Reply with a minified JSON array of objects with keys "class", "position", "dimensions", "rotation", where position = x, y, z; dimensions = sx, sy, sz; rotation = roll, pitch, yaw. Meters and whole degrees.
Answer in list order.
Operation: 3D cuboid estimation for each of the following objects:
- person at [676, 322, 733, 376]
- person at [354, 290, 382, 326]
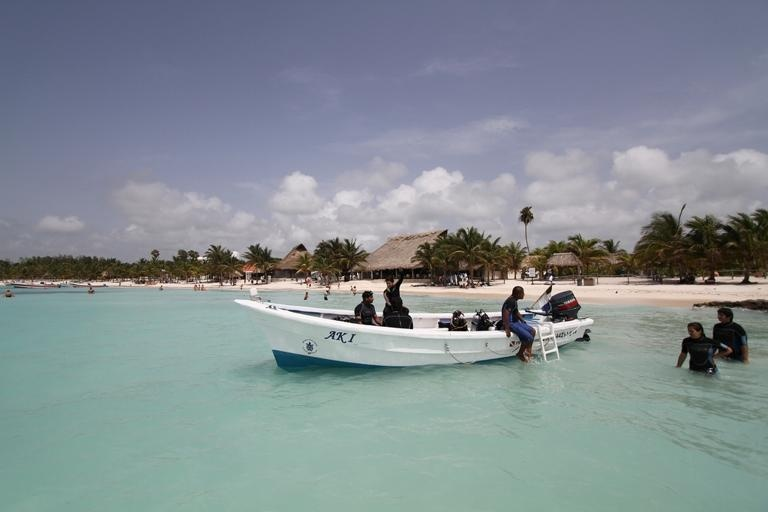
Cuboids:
[{"class":"person","position":[7.612,2.163,11.120],"dimensions":[1.443,1.473,0.790],"rotation":[-8,11,-35]},{"class":"person","position":[-0.404,1.396,11.849],"dimensions":[0.674,1.058,0.697],"rotation":[2,1,27]}]
